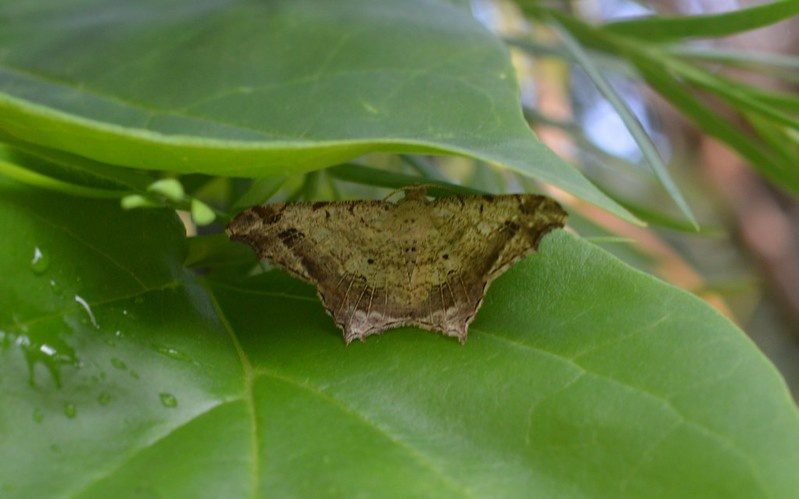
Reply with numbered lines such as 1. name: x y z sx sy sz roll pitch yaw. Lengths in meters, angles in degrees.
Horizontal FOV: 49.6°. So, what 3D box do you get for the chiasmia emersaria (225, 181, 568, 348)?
1. chiasmia emersaria: -0.001 0.020 0.898 0.305 0.148 0.043 1 -5 1
